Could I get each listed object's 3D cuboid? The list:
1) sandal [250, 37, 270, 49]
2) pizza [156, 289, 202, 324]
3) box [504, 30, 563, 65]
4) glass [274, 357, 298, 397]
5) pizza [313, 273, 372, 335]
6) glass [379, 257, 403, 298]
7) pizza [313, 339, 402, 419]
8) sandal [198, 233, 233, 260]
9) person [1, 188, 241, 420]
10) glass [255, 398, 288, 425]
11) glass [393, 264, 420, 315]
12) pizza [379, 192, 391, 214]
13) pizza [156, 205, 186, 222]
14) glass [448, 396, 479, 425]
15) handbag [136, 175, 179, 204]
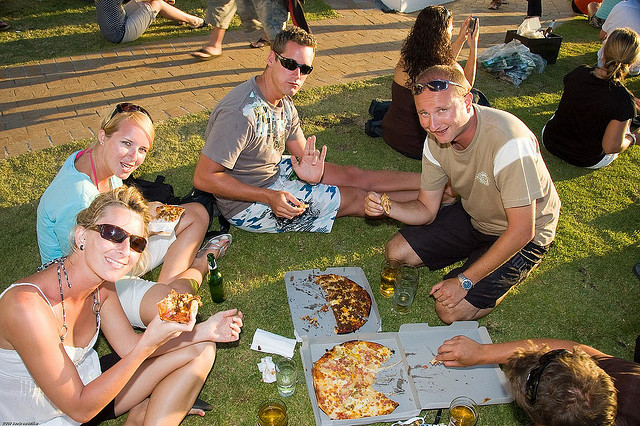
[{"bbox_3d":[-1.081,-3.135,8.446,0.431,0.113,0.161,-28,54,-23],"label":"sandal"},{"bbox_3d":[-1.130,0.745,3.656,0.282,0.181,0.399,6,41,-2],"label":"pizza"},{"bbox_3d":[4.007,-3.185,8.642,0.662,0.438,0.696,3,32,-15],"label":"box"},{"bbox_3d":[-0.284,1.410,3.996,0.204,0.318,0.220,-2,41,-10],"label":"glass"},{"bbox_3d":[0.249,0.871,4.553,0.494,0.717,0.081,-12,24,19],"label":"pizza"},{"bbox_3d":[0.685,0.671,4.660,0.214,0.391,0.385,7,38,9],"label":"glass"},{"bbox_3d":[0.293,1.436,4.002,0.716,0.135,0.643,3,42,-6],"label":"pizza"},{"bbox_3d":[-1.127,0.356,4.968,0.442,0.151,0.111,-46,20,-17],"label":"sandal"},{"bbox_3d":[-1.615,0.803,3.782,1.148,1.591,1.025,9,38,-9],"label":"person"},{"bbox_3d":[-0.389,1.598,3.679,0.204,0.227,0.211,7,53,-1],"label":"glass"},{"bbox_3d":[0.841,0.764,4.580,0.276,0.512,0.264,0,33,-3],"label":"glass"},{"bbox_3d":[0.663,-0.112,4.718,0.123,0.160,0.202,13,41,7],"label":"pizza"},{"bbox_3d":[-1.478,0.008,4.555,0.287,0.123,0.235,-9,44,-18],"label":"pizza"},{"bbox_3d":[1.149,1.610,3.802,0.205,0.246,0.228,-3,47,-1],"label":"glass"},{"bbox_3d":[-1.762,-0.251,4.989,0.334,0.131,0.330,-7,37,-47],"label":"handbag"}]
